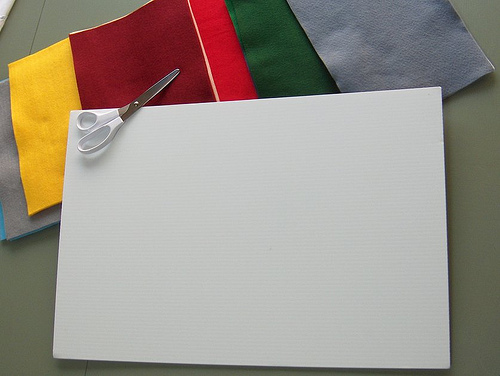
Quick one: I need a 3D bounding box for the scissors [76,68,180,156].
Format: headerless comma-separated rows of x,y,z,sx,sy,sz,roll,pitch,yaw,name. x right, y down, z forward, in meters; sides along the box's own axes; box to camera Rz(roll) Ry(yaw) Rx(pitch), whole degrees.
-0.335,-0.188,1.365,0.351,0.038,0.128,-35,75,7,scissors
